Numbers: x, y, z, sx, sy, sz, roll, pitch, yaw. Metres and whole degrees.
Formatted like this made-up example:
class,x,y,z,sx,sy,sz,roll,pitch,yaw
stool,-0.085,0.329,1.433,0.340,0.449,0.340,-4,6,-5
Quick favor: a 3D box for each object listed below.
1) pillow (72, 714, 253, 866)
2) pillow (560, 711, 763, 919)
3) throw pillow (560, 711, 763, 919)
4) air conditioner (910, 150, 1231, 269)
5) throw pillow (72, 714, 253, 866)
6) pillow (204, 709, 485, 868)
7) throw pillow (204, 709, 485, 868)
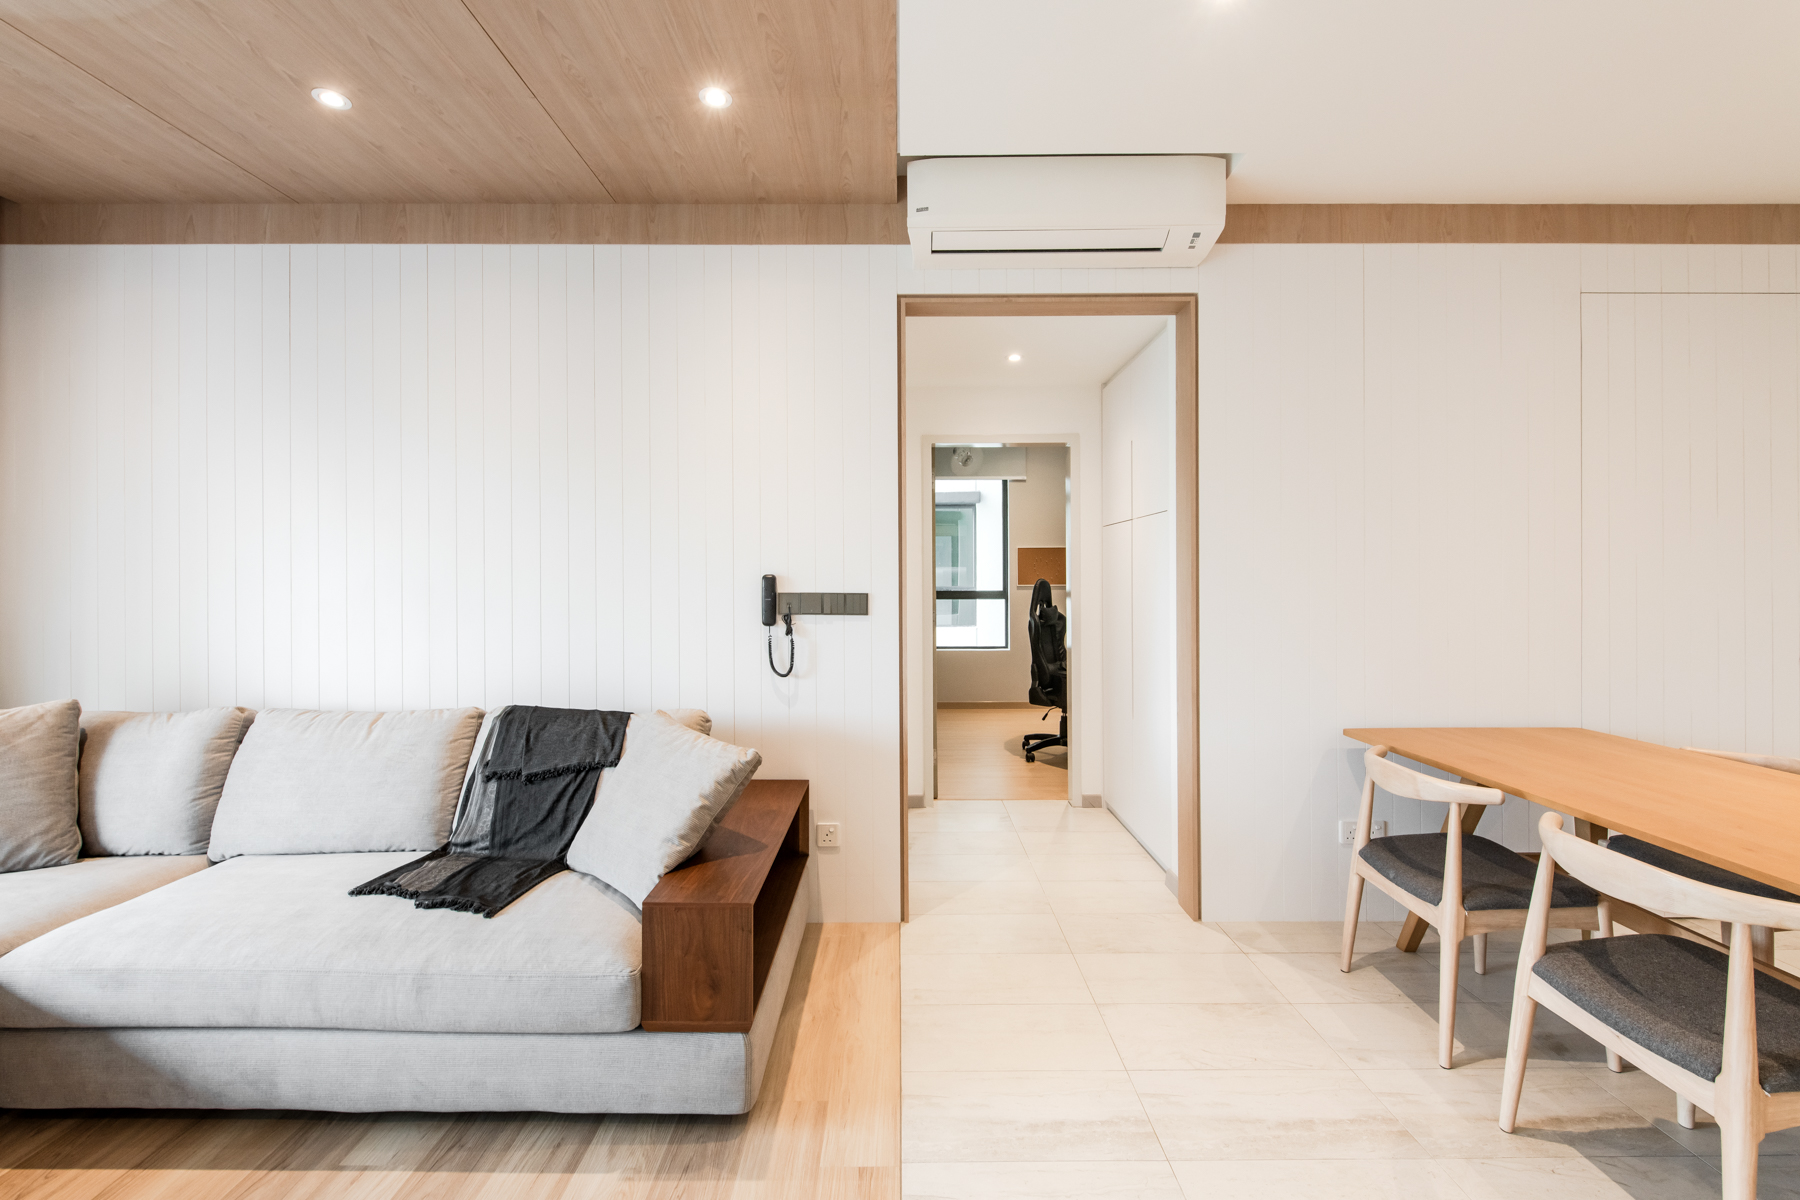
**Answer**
class,x,y,z,sx,sy,sz,roll,pitch,yaw
pillow,-3.213,0.811,5.282,0.982,0.634,0.360,-1,4,28
pillow,-0.854,0.890,4.889,0.732,0.656,0.215,18,-17,45
throw pillow,-0.840,0.888,4.902,0.732,0.656,0.215,18,-17,45
air conditioner,0.744,-1.709,5.273,1.385,0.379,0.260,1,4,4
throw pillow,-3.178,0.788,5.271,0.953,0.619,0.357,1,6,31
pillow,-2.356,0.802,5.208,1.065,0.635,0.352,-3,-7,2
throw pillow,-2.389,0.846,5.207,1.088,0.646,0.358,1,-21,0
